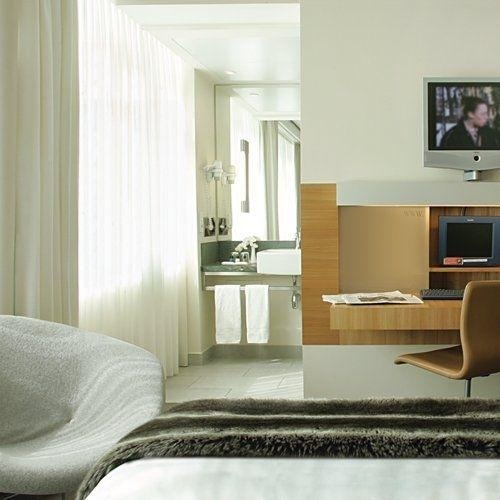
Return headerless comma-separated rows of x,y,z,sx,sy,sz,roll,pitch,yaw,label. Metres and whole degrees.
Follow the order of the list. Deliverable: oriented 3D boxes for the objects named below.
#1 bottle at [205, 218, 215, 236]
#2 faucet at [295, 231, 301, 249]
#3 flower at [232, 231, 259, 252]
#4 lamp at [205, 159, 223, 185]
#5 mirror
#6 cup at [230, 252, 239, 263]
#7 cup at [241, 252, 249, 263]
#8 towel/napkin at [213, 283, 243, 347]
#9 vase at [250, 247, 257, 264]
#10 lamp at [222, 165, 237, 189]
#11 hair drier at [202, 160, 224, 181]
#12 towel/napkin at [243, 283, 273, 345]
-0.345,-0.200,4.552,0.032,0.122,0.139,2,1,22,bottle
0.418,-0.081,4.575,0.037,0.138,0.050,-1,3,17,faucet
-0.020,-0.058,4.606,0.193,0.150,0.141,-1,3,20,flower
-0.306,-0.655,4.506,0.171,0.184,0.194,3,-2,-37,lamp
0.081,-0.765,4.654,0.752,1.378,0.200,-1,3,19,mirror
-0.119,0.062,4.611,0.090,0.121,0.086,0,-3,0,cup
-0.028,0.061,4.645,0.080,0.139,0.078,2,-1,0,cup
-0.173,0.509,4.204,0.197,0.438,0.141,-2,2,-2,towel/napkin
0.032,0.046,4.532,0.054,0.138,0.148,-2,2,0,vase
-0.171,-0.656,4.672,0.154,0.203,0.144,0,-3,-5,lamp
-0.306,-0.660,4.494,0.177,0.158,0.161,-2,3,-33,hair drier
0.061,0.505,4.184,0.178,0.432,0.138,-2,2,2,towel/napkin
